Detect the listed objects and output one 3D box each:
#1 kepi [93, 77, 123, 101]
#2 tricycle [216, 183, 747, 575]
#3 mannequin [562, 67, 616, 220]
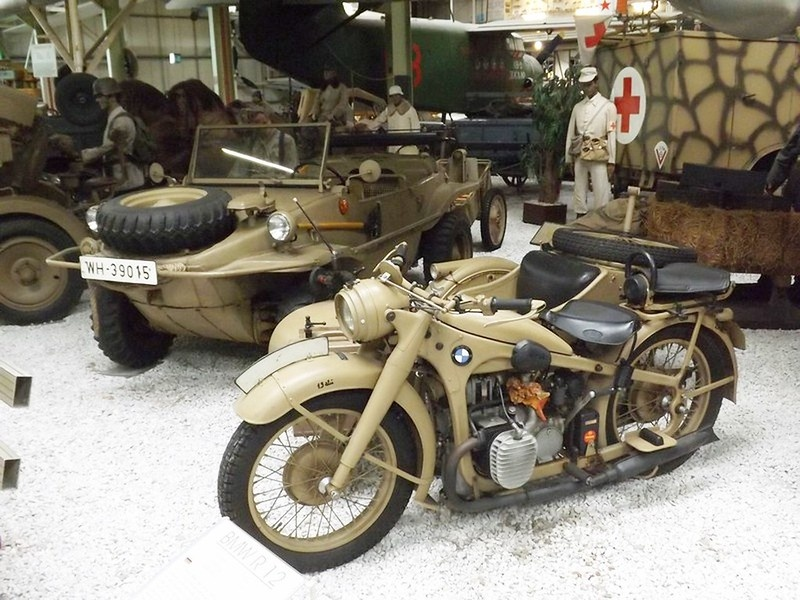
[{"bbox_3d":[-2.930,-2.098,6.728,0.271,0.181,0.289,6,31,8],"label":"kepi"},{"bbox_3d":[0.187,0.137,4.025,2.402,1.675,2.070,14,14,-22],"label":"tricycle"},{"bbox_3d":[2.111,-1.643,7.674,0.586,1.860,0.515,11,26,37],"label":"mannequin"}]
